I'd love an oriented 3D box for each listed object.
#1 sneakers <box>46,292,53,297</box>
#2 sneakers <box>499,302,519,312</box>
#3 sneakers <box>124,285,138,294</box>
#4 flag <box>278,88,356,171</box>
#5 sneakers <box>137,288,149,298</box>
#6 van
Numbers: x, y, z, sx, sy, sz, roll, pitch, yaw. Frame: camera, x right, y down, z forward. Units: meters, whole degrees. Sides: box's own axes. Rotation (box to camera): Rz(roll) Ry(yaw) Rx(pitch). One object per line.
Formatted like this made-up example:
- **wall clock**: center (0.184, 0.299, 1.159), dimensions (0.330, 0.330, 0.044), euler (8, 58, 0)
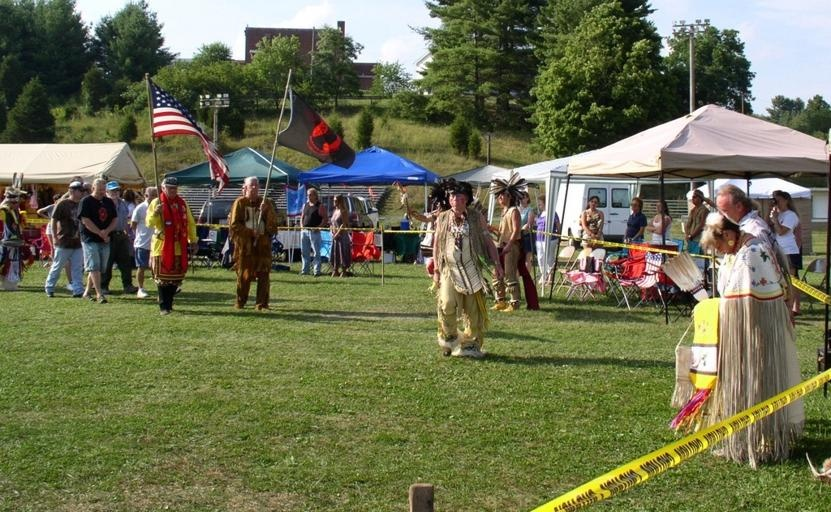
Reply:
- **sneakers**: center (-8.206, 0.865, 23.993), dimensions (0.087, 0.104, 0.231), euler (1, -4, -37)
- **sneakers**: center (2.007, 1.103, 23.258), dimensions (0.399, 0.281, 0.157), euler (7, -2, -2)
- **sneakers**: center (-6.577, 0.777, 24.730), dimensions (0.289, 0.143, 0.129), euler (-5, -4, 31)
- **flag**: center (-2.384, -2.978, 24.835), dimensions (1.905, 1.728, 1.200), euler (2, 0, -22)
- **sneakers**: center (-6.199, 0.840, 24.183), dimensions (0.141, 0.158, 0.358), euler (-2, 1, -39)
- **van**: center (6.746, -1.775, 39.606), dimensions (2.256, 2.234, 4.041), euler (-1, 9, 1)
